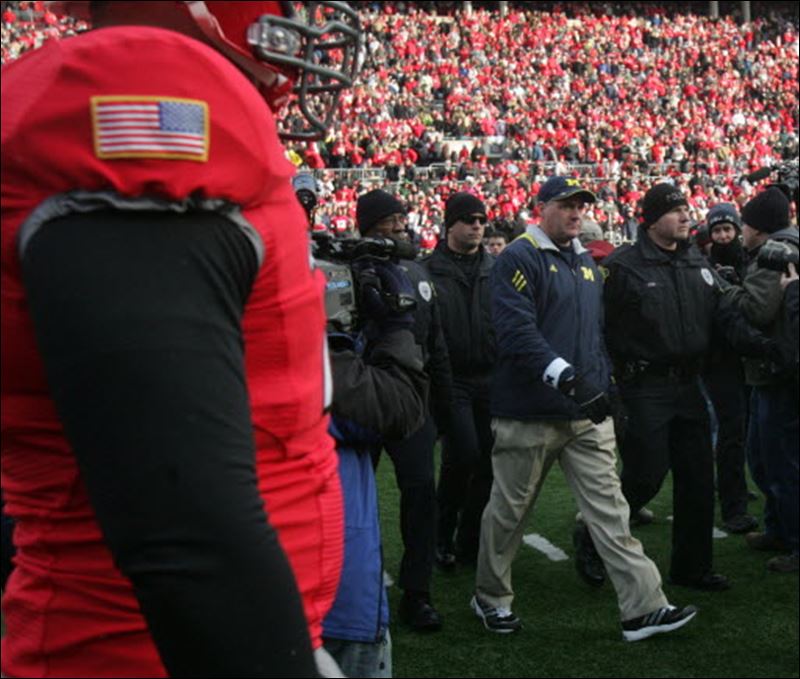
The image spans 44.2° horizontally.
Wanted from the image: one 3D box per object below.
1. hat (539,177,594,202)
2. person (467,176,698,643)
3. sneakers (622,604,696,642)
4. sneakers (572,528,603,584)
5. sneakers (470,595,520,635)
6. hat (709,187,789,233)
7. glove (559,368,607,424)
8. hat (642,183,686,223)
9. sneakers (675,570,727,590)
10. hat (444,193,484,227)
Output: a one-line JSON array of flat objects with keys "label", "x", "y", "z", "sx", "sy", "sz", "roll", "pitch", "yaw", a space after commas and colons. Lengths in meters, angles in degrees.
[{"label": "hat", "x": 0.698, "y": -0.611, "z": 4.136, "sx": 0.132, "sy": 0.090, "sz": 0.183, "roll": -1, "pitch": 3, "yaw": -42}, {"label": "person", "x": 0.651, "y": 0.221, "z": 3.865, "sx": 0.730, "sy": 1.779, "sz": 0.880, "roll": -5, "pitch": 7, "yaw": -38}, {"label": "sneakers", "x": 0.948, "y": 1.043, "z": 3.626, "sx": 0.227, "sy": 0.111, "sz": 0.077, "roll": -19, "pitch": 7, "yaw": 5}, {"label": "sneakers", "x": 0.839, "y": 0.962, "z": 4.380, "sx": 0.131, "sy": 0.233, "sz": 0.060, "roll": -6, "pitch": -13, "yaw": -6}, {"label": "sneakers", "x": 0.375, "y": 1.068, "z": 3.829, "sx": 0.080, "sy": 0.089, "sz": 0.197, "roll": -6, "pitch": 8, "yaw": -41}, {"label": "hat", "x": 1.968, "y": -0.696, "z": 5.418, "sx": 0.253, "sy": 0.185, "sz": 0.373, "roll": -4, "pitch": 3, "yaw": -36}, {"label": "glove", "x": 0.685, "y": 0.215, "z": 3.629, "sx": 0.202, "sy": 0.151, "sz": 0.085, "roll": 44, "pitch": 1, "yaw": 26}, {"label": "hat", "x": 1.225, "y": -0.640, "z": 4.543, "sx": 0.204, "sy": 0.178, "sz": 0.209, "roll": -7, "pitch": 10, "yaw": 33}, {"label": "sneakers", "x": 1.290, "y": 1.023, "z": 4.214, "sx": 0.182, "sy": 0.079, "sz": 0.073, "roll": -5, "pitch": -2, "yaw": 21}, {"label": "hat", "x": 0.352, "y": -0.684, "z": 5.120, "sx": 0.178, "sy": 0.158, "sz": 0.181, "roll": 0, "pitch": 0, "yaw": -30}]
